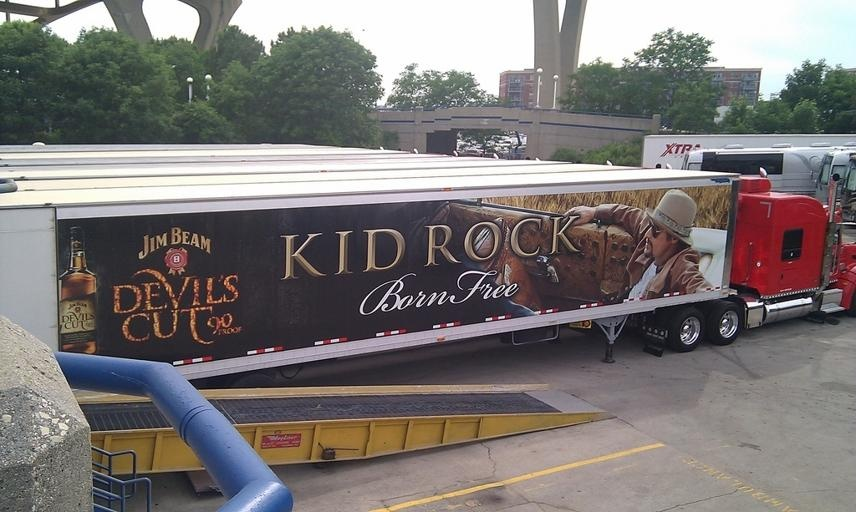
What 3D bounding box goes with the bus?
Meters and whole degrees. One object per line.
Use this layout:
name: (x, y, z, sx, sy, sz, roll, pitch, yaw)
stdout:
bus: (15.542, -4.328, 40.456, 13.699, 5.225, 5.506, 4, 10, 19)
